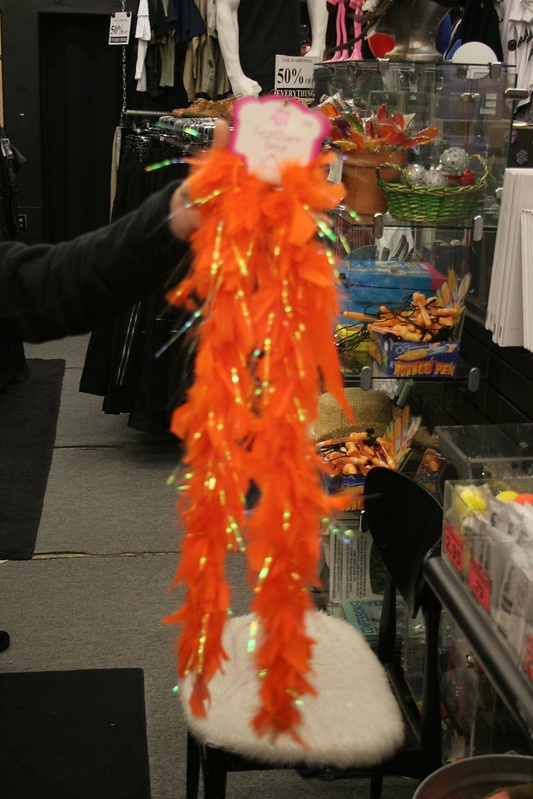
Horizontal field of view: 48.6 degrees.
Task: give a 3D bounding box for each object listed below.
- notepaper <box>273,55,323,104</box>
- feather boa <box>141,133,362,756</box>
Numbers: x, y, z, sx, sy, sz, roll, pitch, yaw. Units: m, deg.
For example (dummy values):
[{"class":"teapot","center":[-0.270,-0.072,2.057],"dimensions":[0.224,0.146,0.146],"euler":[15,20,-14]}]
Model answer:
[{"class":"notepaper","center":[0.120,-1.349,2.470],"dimensions":[0.180,0.225,0.162],"euler":[-6,-1,7]},{"class":"feather boa","center":[-0.008,0.071,0.556],"dimensions":[0.194,0.527,0.301],"euler":[-5,-1,-12]}]
